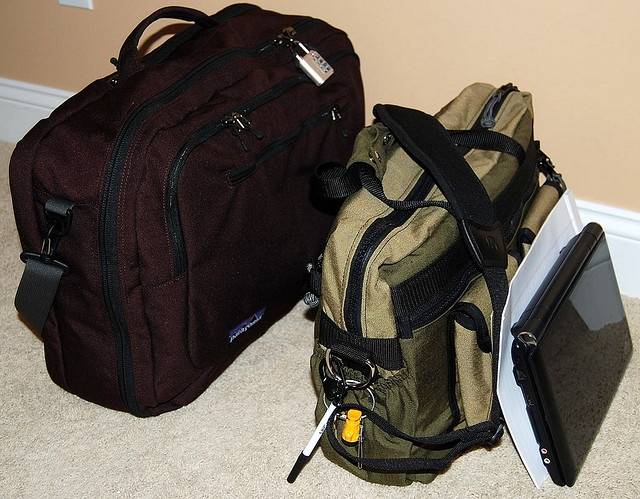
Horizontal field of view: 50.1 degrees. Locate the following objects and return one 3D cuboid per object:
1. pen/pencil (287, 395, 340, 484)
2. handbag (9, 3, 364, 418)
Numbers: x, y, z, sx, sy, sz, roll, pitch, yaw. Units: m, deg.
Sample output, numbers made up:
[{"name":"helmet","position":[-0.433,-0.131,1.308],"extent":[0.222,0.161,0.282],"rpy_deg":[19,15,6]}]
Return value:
[{"name":"pen/pencil","position":[-0.011,0.356,1.255],"extent":[0.026,0.193,0.021],"rpy_deg":[31,23,16]},{"name":"handbag","position":[-0.220,-0.041,1.277],"extent":[0.288,0.504,0.594],"rpy_deg":[20,43,26]}]
